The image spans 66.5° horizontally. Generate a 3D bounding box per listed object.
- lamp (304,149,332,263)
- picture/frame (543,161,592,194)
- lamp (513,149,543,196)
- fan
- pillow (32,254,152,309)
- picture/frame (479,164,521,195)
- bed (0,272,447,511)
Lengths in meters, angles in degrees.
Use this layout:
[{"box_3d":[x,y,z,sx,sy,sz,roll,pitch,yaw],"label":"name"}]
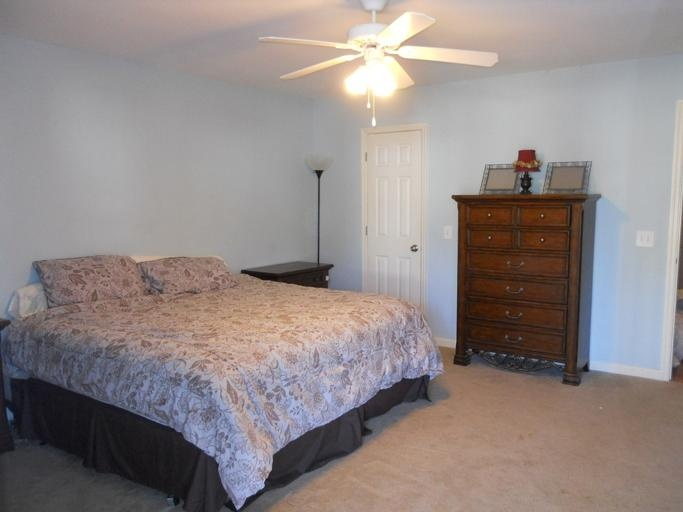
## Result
[{"box_3d":[-0.297,-0.577,6.288,0.295,1.303,0.463,-5,16,-36],"label":"lamp"},{"box_3d":[2.118,-0.734,4.839,0.359,0.331,0.031,3,-26,28],"label":"picture/frame"},{"box_3d":[1.761,-0.812,4.934,0.242,0.417,0.433,9,13,20],"label":"lamp"},{"box_3d":[0.343,-1.286,3.227,0.923,0.362,0.861,0,-6,-7],"label":"fan"},{"box_3d":[-1.946,0.202,4.106,0.750,0.176,0.602,-2,35,-37],"label":"pillow"},{"box_3d":[1.564,-0.752,5.088,0.437,0.429,0.033,0,-34,28],"label":"picture/frame"},{"box_3d":[-0.794,0.757,3.972,2.231,0.890,2.198,12,13,33],"label":"bed"}]
